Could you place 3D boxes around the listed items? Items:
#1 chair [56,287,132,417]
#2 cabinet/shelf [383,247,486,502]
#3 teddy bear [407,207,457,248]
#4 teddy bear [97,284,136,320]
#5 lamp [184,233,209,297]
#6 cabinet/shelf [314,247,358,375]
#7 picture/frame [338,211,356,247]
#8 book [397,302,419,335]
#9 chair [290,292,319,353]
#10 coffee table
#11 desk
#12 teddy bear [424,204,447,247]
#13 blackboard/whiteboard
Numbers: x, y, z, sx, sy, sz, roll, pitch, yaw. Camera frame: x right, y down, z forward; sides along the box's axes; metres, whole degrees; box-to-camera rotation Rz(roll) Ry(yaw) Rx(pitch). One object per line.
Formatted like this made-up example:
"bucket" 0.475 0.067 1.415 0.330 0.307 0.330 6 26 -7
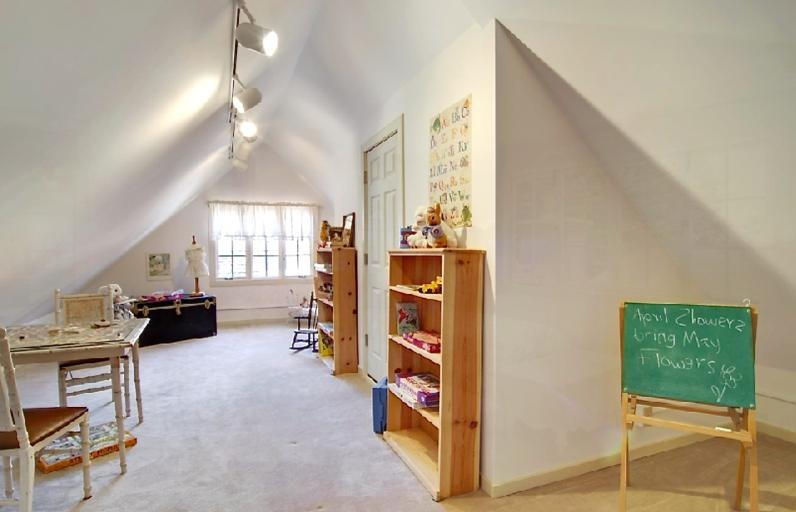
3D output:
"chair" -2.980 0.849 5.533 0.529 0.961 0.540 -2 -13 -28
"cabinet/shelf" 0.239 0.815 4.806 0.420 1.790 1.006 -1 4 -25
"teddy bear" 0.267 -0.211 4.759 0.407 0.396 0.265 0 5 35
"teddy bear" -3.391 0.587 6.938 0.582 0.362 0.882 2 2 -30
"lamp" -3.017 0.154 8.564 0.335 0.828 0.286 -4 0 -27
"cabinet/shelf" -0.715 0.656 6.699 0.473 1.584 1.350 1 -5 -13
"picture/frame" -0.594 -0.298 6.667 0.035 0.477 0.410 3 -6 -22
"book" 0.066 0.552 5.004 0.264 0.342 0.035 3 -9 -30
"chair" -1.277 0.900 7.746 0.456 0.695 0.399 -2 3 -15
"coffee table" -3.034 0.874 7.928 1.066 0.638 0.216 -10 17 -37
"desk" -2.668 0.997 4.921 1.128 0.965 1.304 -1 0 -22
"teddy bear" 0.301 -0.243 4.674 0.182 0.330 0.333 0 13 1
"blackboard/whiteboard" 2.067 0.717 4.133 0.810 0.683 0.097 0 -3 20
